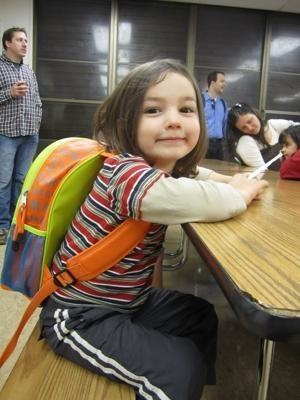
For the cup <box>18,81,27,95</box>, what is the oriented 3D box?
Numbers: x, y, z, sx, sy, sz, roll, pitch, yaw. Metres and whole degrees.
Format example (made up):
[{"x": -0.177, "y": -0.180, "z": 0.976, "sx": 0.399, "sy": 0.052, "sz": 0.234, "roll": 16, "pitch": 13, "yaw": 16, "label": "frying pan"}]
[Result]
[{"x": -0.990, "y": -0.881, "z": 2.380, "sx": 0.062, "sy": 0.120, "sz": 0.209, "roll": 1, "pitch": 11, "yaw": -23, "label": "cup"}]
